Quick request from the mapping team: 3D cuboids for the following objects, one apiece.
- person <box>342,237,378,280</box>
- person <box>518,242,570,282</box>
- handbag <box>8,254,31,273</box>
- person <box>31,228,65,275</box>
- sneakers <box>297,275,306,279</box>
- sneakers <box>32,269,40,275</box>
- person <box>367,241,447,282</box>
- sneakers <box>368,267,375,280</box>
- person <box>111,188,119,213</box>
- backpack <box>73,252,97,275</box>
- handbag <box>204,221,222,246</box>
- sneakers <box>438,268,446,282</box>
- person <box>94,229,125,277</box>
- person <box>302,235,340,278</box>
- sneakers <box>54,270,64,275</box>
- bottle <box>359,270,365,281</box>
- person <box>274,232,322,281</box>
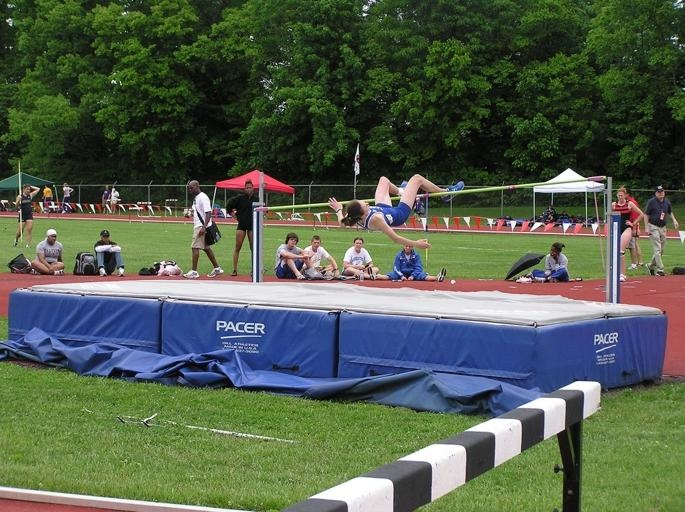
[{"bbox_3d":[0.341,0.053,18.314,0.629,0.773,0.871,-3,6,-31],"label":"person"},{"bbox_3d":[3.641,0.130,17.925,1.057,0.685,0.654,-3,1,-37],"label":"person"},{"bbox_3d":[-5.811,0.135,18.332,0.317,0.349,0.623,0,0,-39],"label":"handbag"},{"bbox_3d":[-5.332,-0.074,18.372,0.554,0.796,0.603,0,-1,-15],"label":"person"},{"bbox_3d":[-0.719,0.363,17.920,0.121,0.093,0.216,0,0,21],"label":"sneakers"},{"bbox_3d":[-5.495,0.273,18.247,0.138,0.095,0.282,0,0,-27],"label":"sneakers"},{"bbox_3d":[1.156,0.133,18.217,1.278,0.627,0.907,-1,6,1],"label":"person"},{"bbox_3d":[0.527,0.297,18.098,0.090,0.231,0.110,-19,-18,20],"label":"sneakers"},{"bbox_3d":[-9.872,-2.438,44.106,0.385,1.106,1.872,0,0,-12],"label":"person"},{"bbox_3d":[-4.664,0.131,18.323,0.392,0.376,0.409,1,4,-32],"label":"backpack"},{"bbox_3d":[-2.303,-0.406,17.967,0.238,0.406,0.311,0,-1,-9],"label":"handbag"},{"bbox_3d":[1.794,0.339,17.877,0.110,0.298,0.134,14,2,-10],"label":"sneakers"},{"bbox_3d":[-4.256,-0.067,18.388,0.515,0.781,0.956,-2,6,-28],"label":"person"},{"bbox_3d":[-0.384,0.009,18.106,0.741,0.684,0.983,5,2,-7],"label":"person"},{"bbox_3d":[-5.078,0.296,18.196,0.165,0.093,0.358,0,0,-16],"label":"sneakers"},{"bbox_3d":[0.358,0.348,18.073,0.106,0.153,0.084,0,-1,-7],"label":"bottle"},{"bbox_3d":[-0.823,0.009,18.017,0.575,0.798,0.878,-5,5,-43],"label":"person"}]
